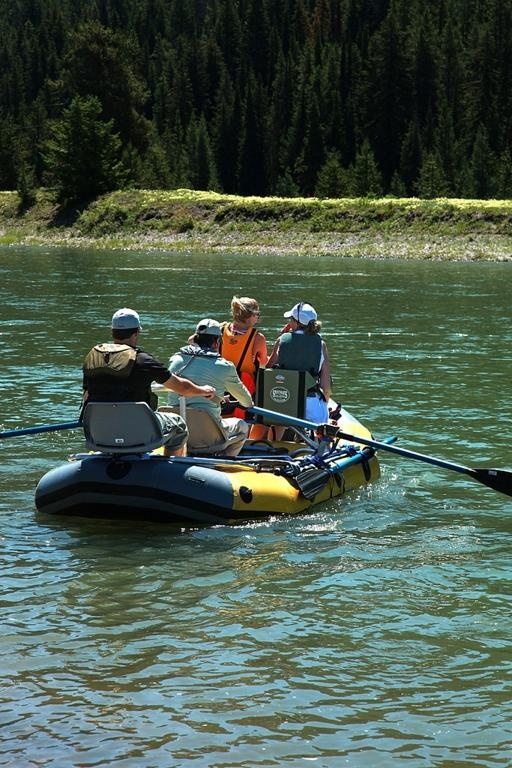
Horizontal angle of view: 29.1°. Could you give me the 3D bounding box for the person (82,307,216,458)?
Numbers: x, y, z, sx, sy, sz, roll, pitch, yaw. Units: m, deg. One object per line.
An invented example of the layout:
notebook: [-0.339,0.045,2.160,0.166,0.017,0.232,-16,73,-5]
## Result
person: [-0.820,0.036,7.435,0.860,1.219,0.619,-7,15,-44]

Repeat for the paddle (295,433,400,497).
paddle: [0.738,0.706,8.698,0.371,0.285,1.088,10,13,26]

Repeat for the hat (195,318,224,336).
hat: [-0.370,-0.455,7.987,0.186,0.147,0.129,-8,16,7]

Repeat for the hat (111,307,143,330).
hat: [-0.946,-0.503,7.275,0.181,0.135,0.243,2,19,5]

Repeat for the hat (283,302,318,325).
hat: [0.446,-0.676,9.529,0.301,0.162,0.207,16,13,29]

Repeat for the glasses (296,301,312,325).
glasses: [0.473,-0.685,9.499,0.159,0.176,0.205,3,37,-13]
